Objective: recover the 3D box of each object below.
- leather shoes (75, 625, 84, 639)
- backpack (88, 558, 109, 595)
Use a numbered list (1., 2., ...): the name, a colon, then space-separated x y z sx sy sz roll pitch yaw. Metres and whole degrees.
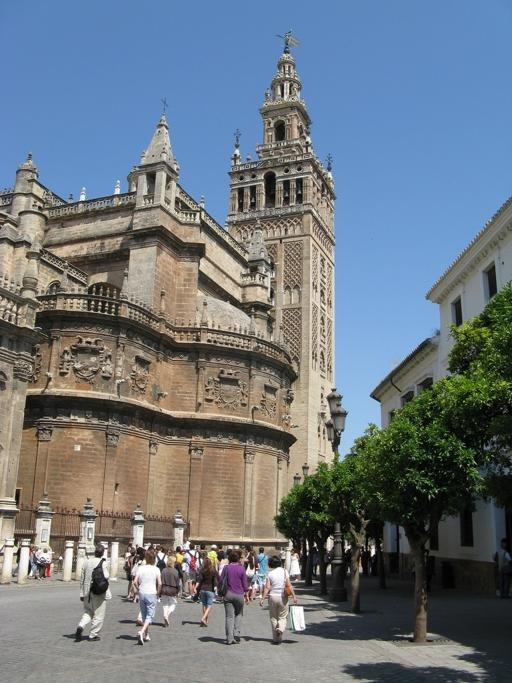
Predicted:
1. leather shoes: -2.531 4.162 9.699 0.092 0.205 0.490 7 -19 -14
2. backpack: -2.224 3.336 9.617 0.241 0.493 0.378 5 -20 -10
